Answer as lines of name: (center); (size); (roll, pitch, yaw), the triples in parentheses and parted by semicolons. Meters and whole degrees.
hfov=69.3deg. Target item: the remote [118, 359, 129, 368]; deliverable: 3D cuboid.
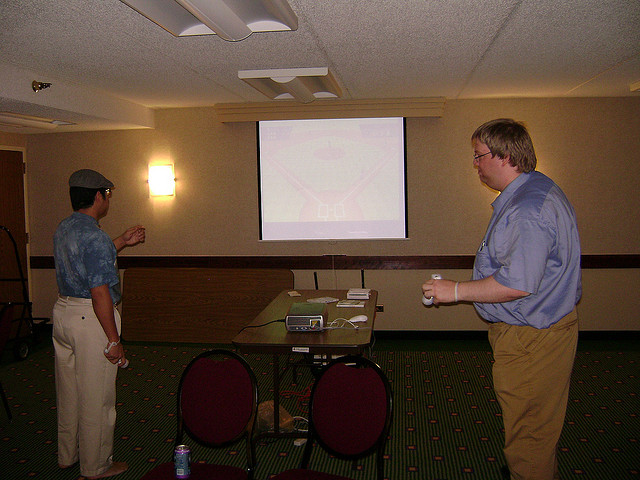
remote: (-1.477, 0.916, 3.467); (0.058, 0.048, 0.068); (3, 16, 8)

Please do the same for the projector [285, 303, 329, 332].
projector: (-0.106, 0.628, 3.794); (0.337, 0.141, 0.372); (-2, 6, 2)

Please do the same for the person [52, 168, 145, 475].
person: (-1.773, 0.654, 3.466); (0.547, 2.335, 0.478); (-6, 7, -23)

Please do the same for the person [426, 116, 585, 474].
person: (1.180, 0.349, 2.757); (0.655, 2.128, 0.530); (1, 7, 29)

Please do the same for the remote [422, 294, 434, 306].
remote: (0.668, 0.390, 2.860); (0.081, 0.072, 0.080); (3, 12, 17)
